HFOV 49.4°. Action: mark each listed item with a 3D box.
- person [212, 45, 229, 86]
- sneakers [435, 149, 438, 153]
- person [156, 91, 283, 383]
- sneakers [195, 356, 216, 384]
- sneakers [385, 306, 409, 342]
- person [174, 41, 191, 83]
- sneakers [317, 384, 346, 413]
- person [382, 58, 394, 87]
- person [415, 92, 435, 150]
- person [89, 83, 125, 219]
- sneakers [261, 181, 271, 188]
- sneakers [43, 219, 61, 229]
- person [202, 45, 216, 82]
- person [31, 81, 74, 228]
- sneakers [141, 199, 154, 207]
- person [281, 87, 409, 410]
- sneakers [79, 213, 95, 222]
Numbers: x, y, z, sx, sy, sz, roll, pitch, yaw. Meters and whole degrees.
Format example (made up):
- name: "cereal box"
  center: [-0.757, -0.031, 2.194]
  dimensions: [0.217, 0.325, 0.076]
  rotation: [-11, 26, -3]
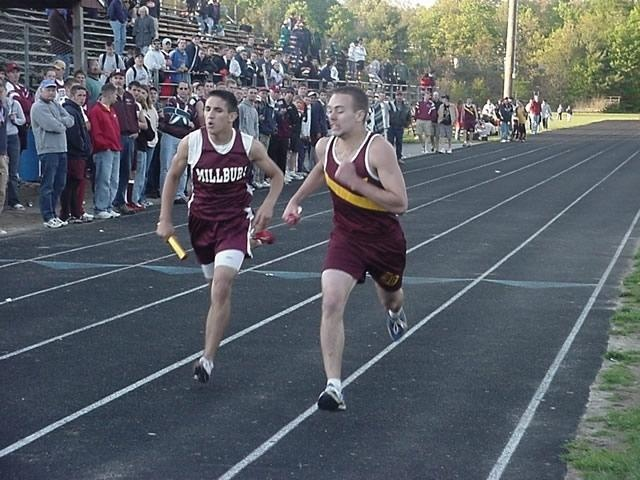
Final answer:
- name: "person"
  center: [-2.949, -5.244, 20.831]
  dimensions: [0.581, 1.413, 0.497]
  rotation: [2, -18, -6]
- name: "sneakers"
  center: [4.827, -3.712, 28.906]
  dimensions: [0.149, 0.104, 0.085]
  rotation: [0, 39, 14]
- name: "person"
  center: [-0.741, -0.091, 5.742]
  dimensions: [0.995, 2.265, 0.837]
  rotation: [-3, 11, -20]
- name: "sneakers"
  center: [-0.932, 1.033, 5.499]
  dimensions: [0.133, 0.264, 0.173]
  rotation: [-2, 11, -15]
- name: "sneakers"
  center: [0.668, 0.727, 6.221]
  dimensions: [0.138, 0.424, 0.169]
  rotation: [-1, 40, 6]
- name: "person"
  center: [-3.832, -4.996, 19.303]
  dimensions: [0.338, 1.178, 1.105]
  rotation: [-1, 11, -10]
- name: "sneakers"
  center: [0.071, 1.099, 4.882]
  dimensions: [0.119, 0.134, 0.283]
  rotation: [-1, -34, 6]
- name: "person"
  center: [3.818, -9.671, 40.164]
  dimensions: [0.689, 1.351, 0.378]
  rotation: [-3, 11, -16]
- name: "person"
  center: [4.200, -4.733, 28.070]
  dimensions: [0.828, 2.434, 1.242]
  rotation: [2, 10, 8]
- name: "person"
  center: [-3.970, -1.631, 12.855]
  dimensions: [0.572, 2.475, 0.391]
  rotation: [-6, 11, -31]
- name: "sneakers"
  center: [-1.446, -1.453, 18.001]
  dimensions: [0.147, 0.180, 0.423]
  rotation: [-6, 3, -42]
- name: "sneakers"
  center: [-4.651, -0.275, 12.054]
  dimensions: [0.293, 0.123, 0.129]
  rotation: [2, 7, 31]
- name: "person"
  center: [-3.317, -5.076, 20.256]
  dimensions: [0.386, 0.811, 0.675]
  rotation: [1, 10, 3]
- name: "person"
  center: [-4.593, -1.440, 11.950]
  dimensions: [0.617, 2.412, 0.380]
  rotation: [-5, 11, -27]
- name: "sneakers"
  center: [-3.697, -0.782, 14.641]
  dimensions: [0.287, 0.138, 0.099]
  rotation: [2, 14, 36]
- name: "person"
  center: [0.241, 0.010, 5.349]
  dimensions: [0.835, 2.347, 1.442]
  rotation: [1, 10, 5]
- name: "sneakers"
  center: [-4.368, -0.423, 12.894]
  dimensions: [0.293, 0.206, 0.101]
  rotation: [-5, 5, -1]
